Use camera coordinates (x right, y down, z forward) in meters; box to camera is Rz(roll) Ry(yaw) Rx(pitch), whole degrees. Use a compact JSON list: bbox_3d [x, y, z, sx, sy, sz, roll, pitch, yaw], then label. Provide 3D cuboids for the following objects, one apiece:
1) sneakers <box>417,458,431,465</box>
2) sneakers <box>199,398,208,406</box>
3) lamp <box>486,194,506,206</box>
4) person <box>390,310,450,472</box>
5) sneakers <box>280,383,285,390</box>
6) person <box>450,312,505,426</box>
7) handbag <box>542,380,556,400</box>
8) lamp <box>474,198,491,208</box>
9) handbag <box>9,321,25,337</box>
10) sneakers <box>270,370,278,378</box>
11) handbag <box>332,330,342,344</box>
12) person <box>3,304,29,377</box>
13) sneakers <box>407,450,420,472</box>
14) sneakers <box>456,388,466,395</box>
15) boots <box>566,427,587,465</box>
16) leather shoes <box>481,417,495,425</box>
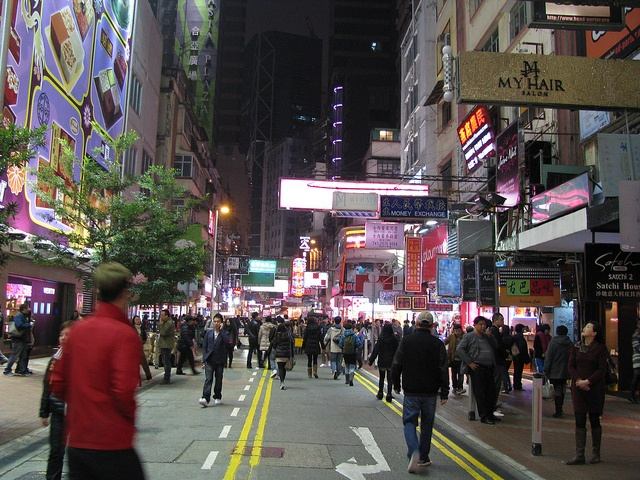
[{"bbox_3d":[1.828,3.902,10.352,0.267,0.137,0.098,23,-23,-33],"label":"sneakers"},{"bbox_3d":[-2.899,4.056,14.694,0.209,0.218,0.327,4,-11,-11],"label":"sneakers"},{"bbox_3d":[6.380,-1.414,21.244,0.454,0.355,0.501,17,-3,-2],"label":"lamp"},{"bbox_3d":[1.742,2.794,10.261,0.958,2.327,0.653,0,-10,8],"label":"person"},{"bbox_3d":[-1.187,4.653,18.686,0.108,0.147,0.323,0,-17,-4],"label":"sneakers"},{"bbox_3d":[3.639,2.960,13.407,1.186,2.385,0.614,11,-13,-43],"label":"person"},{"bbox_3d":[4.710,3.141,12.190,0.192,0.311,0.494,-3,-12,23],"label":"handbag"},{"bbox_3d":[6.612,-1.496,23.932,0.778,0.260,0.601,22,1,33],"label":"lamp"},{"bbox_3d":[-9.316,2.730,18.085,0.200,0.468,0.355,-41,-29,24],"label":"handbag"},{"bbox_3d":[-1.598,4.769,20.694,0.151,0.219,0.498,6,-40,-9],"label":"sneakers"},{"bbox_3d":[0.654,3.633,21.923,0.271,0.426,0.413,2,18,14],"label":"handbag"},{"bbox_3d":[-9.378,3.123,18.425,0.612,2.204,1.102,6,-11,-26],"label":"person"},{"bbox_3d":[1.579,3.695,9.837,0.118,0.385,0.152,3,17,0],"label":"sneakers"},{"bbox_3d":[4.371,4.708,18.317,0.323,0.261,0.123,-5,-2,-3],"label":"sneakers"},{"bbox_3d":[4.553,3.670,10.509,0.411,0.614,0.364,0,-10,9],"label":"boots"},{"bbox_3d":[3.805,4.098,13.363,0.253,0.126,0.147,-4,-8,12],"label":"leather shoes"}]
